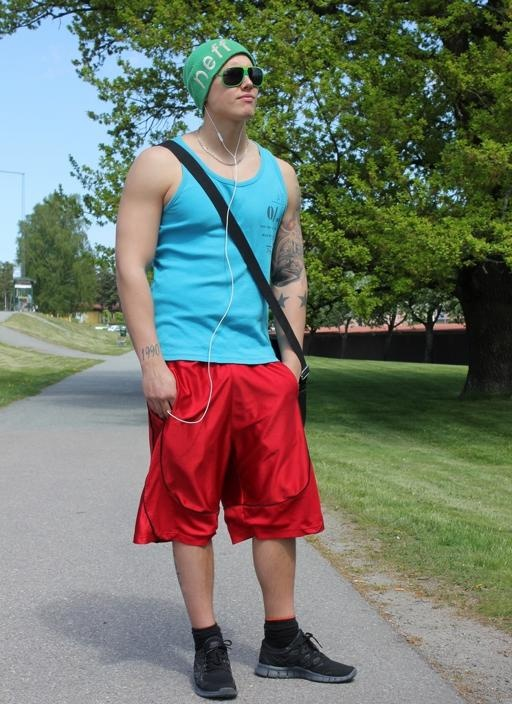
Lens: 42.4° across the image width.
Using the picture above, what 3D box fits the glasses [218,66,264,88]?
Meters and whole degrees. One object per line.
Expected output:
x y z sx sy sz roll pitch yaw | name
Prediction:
-0.042 -0.880 2.115 0.108 0.043 0.101 -3 4 -27 | glasses

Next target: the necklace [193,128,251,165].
-0.103 -0.638 2.150 0.113 0.133 0.036 -27 5 -38 | necklace

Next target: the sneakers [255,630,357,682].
0.148 1.026 2.275 0.424 0.166 0.138 2 -6 2 | sneakers

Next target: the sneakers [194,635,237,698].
-0.130 0.983 2.073 0.103 0.098 0.240 0 -4 -8 | sneakers
